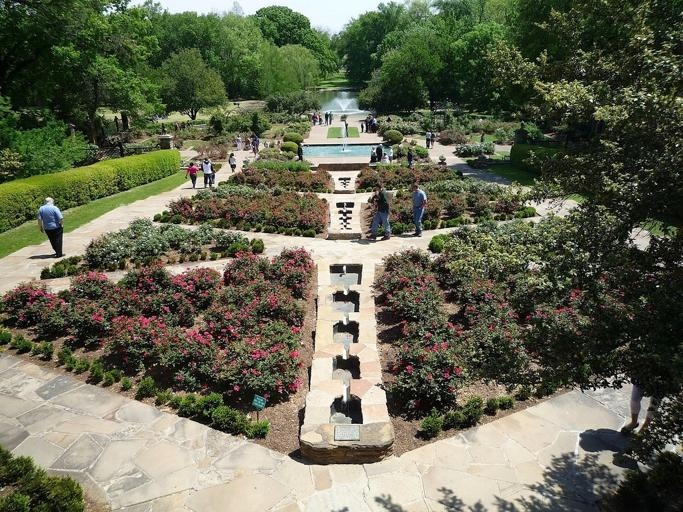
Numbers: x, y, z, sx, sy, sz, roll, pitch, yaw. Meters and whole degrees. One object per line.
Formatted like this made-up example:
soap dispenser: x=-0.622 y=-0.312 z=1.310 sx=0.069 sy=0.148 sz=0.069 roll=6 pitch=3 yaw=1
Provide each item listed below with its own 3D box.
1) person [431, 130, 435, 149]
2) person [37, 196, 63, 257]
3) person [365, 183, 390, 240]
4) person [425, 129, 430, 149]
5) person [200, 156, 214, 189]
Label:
person: x=6.844 y=-9.019 z=36.801 sx=0.202 sy=1.151 sz=0.642 roll=4 pitch=26 yaw=18
person: x=-9.277 y=-0.955 z=15.232 sx=0.659 sy=1.949 sz=0.859 roll=-19 pitch=28 yaw=-28
person: x=1.297 y=-1.667 z=18.474 sx=1.277 sy=2.585 sz=1.078 roll=-13 pitch=66 yaw=-4
person: x=6.582 y=-9.094 z=37.060 sx=0.427 sy=1.078 sz=1.521 roll=-1 pitch=23 yaw=9
person: x=-6.790 y=-4.100 z=23.968 sx=0.614 sy=1.418 sz=1.669 roll=-12 pitch=24 yaw=-14
